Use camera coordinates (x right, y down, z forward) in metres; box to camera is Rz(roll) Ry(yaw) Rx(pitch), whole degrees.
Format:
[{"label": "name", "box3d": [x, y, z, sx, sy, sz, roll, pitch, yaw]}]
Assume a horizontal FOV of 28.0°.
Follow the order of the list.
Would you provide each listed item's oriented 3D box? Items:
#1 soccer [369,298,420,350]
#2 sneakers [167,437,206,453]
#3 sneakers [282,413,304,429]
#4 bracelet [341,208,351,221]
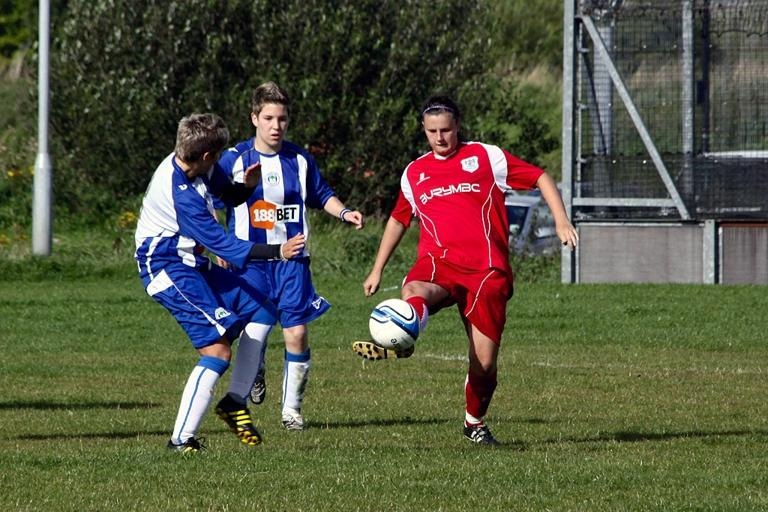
[{"label": "soccer", "box3d": [0.213, 0.767, 19.450, 0.584, 0.649, 0.591, 15, 20, 21]}, {"label": "sneakers", "box3d": [-2.473, 2.367, 19.326, 0.380, 0.184, 0.222, -5, 5, 6]}, {"label": "sneakers", "box3d": [-1.192, 2.158, 20.182, 0.133, 0.155, 0.307, 1, -4, -39]}, {"label": "bracelet", "box3d": [-0.506, -0.530, 20.258, 0.118, 0.179, 0.333, -1, 15, -2]}]
